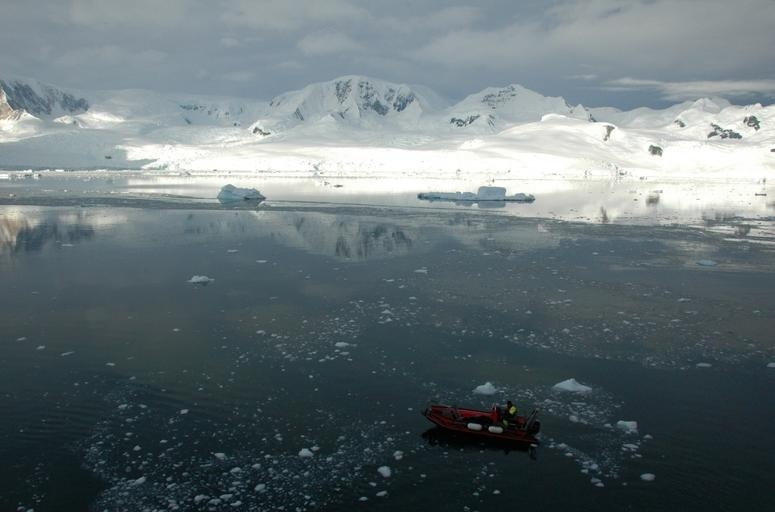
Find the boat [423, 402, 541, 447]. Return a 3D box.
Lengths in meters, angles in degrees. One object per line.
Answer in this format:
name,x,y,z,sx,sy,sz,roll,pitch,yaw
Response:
boat,2.749,4.858,19.683,3.410,0.885,1.199,2,16,6
